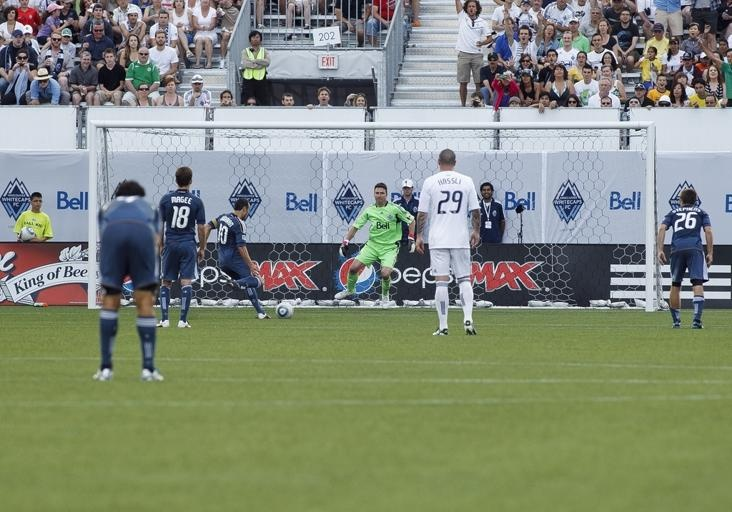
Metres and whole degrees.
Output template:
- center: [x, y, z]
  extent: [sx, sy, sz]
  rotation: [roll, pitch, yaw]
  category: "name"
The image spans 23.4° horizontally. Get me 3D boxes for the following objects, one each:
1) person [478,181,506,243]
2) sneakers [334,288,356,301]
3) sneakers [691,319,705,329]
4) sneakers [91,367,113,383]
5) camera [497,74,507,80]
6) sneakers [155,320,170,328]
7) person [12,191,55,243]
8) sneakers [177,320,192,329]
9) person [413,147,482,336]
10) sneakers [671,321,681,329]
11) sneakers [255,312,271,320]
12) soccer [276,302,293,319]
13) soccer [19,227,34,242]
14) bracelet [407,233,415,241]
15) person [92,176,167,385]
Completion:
- center: [2.529, -0.881, 35.592]
  extent: [0.521, 1.215, 0.280]
  rotation: [0, 2, -7]
  category: "person"
- center: [-0.475, 0.710, 34.895]
  extent: [0.505, 0.225, 0.191]
  rotation: [-3, 44, -3]
  category: "sneakers"
- center: [5.945, 1.187, 31.775]
  extent: [0.190, 0.154, 0.237]
  rotation: [1, 3, 10]
  category: "sneakers"
- center: [-4.021, 1.786, 26.898]
  extent: [0.273, 0.179, 0.241]
  rotation: [-13, -12, -10]
  category: "sneakers"
- center: [2.775, -3.751, 36.968]
  extent: [0.084, 0.113, 0.339]
  rotation: [-1, 3, -24]
  category: "camera"
- center: [-3.683, 1.177, 31.729]
  extent: [0.269, 0.129, 0.101]
  rotation: [4, 7, 26]
  category: "sneakers"
- center: [-6.695, -0.810, 35.634]
  extent: [0.781, 0.990, 0.451]
  rotation: [-1, 3, -19]
  category: "person"
- center: [-3.253, 1.197, 31.750]
  extent: [0.297, 0.138, 0.109]
  rotation: [1, 3, -37]
  category: "sneakers"
- center: [1.401, -0.258, 30.491]
  extent: [1.044, 3.181, 0.719]
  rotation: [0, 2, 0]
  category: "person"
- center: [5.563, 1.207, 31.877]
  extent: [0.109, 0.065, 0.191]
  rotation: [3, 4, 7]
  category: "sneakers"
- center: [-1.907, 1.090, 33.108]
  extent: [0.305, 0.136, 0.101]
  rotation: [0, 2, -44]
  category: "sneakers"
- center: [-1.545, 0.994, 33.159]
  extent: [0.292, 0.295, 0.345]
  rotation: [0, 3, -7]
  category: "soccer"
- center: [-6.790, -0.490, 35.473]
  extent: [0.272, 0.277, 0.212]
  rotation: [-23, 33, -38]
  category: "soccer"
- center: [0.861, -0.387, 34.121]
  extent: [0.088, 0.114, 0.120]
  rotation: [-4, -30, -24]
  category: "bracelet"
- center: [-3.617, 0.371, 26.893]
  extent: [1.022, 3.048, 0.692]
  rotation: [0, 2, -9]
  category: "person"
